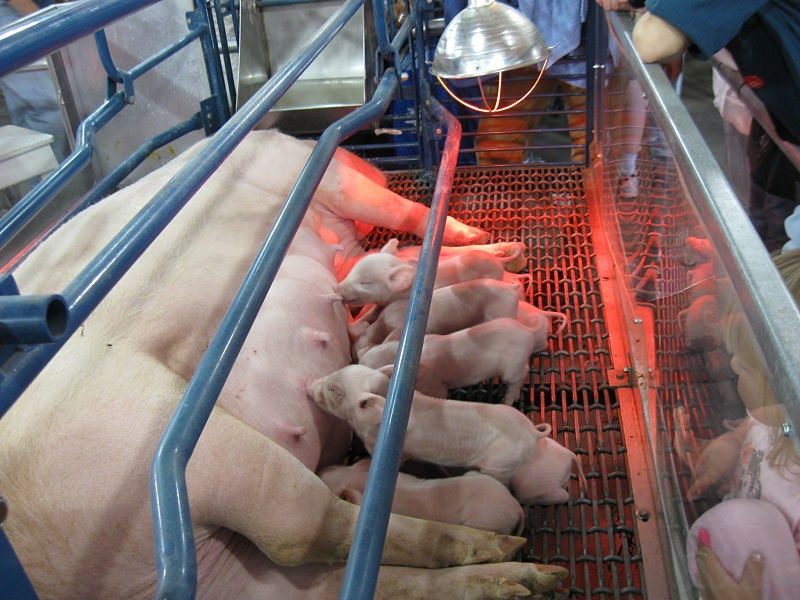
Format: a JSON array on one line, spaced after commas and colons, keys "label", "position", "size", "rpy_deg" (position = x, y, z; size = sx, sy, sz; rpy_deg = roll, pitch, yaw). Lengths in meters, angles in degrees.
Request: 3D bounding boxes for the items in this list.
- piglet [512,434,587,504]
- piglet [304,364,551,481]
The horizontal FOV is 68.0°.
[{"label": "piglet", "position": [0.423, 0.492, 1.688], "size": [0.103, 0.206, 0.150], "rpy_deg": [13, 65, -8]}, {"label": "piglet", "position": [0.131, 0.375, 1.837], "size": [0.755, 0.395, 0.302], "rpy_deg": [12, 79, -3]}]
